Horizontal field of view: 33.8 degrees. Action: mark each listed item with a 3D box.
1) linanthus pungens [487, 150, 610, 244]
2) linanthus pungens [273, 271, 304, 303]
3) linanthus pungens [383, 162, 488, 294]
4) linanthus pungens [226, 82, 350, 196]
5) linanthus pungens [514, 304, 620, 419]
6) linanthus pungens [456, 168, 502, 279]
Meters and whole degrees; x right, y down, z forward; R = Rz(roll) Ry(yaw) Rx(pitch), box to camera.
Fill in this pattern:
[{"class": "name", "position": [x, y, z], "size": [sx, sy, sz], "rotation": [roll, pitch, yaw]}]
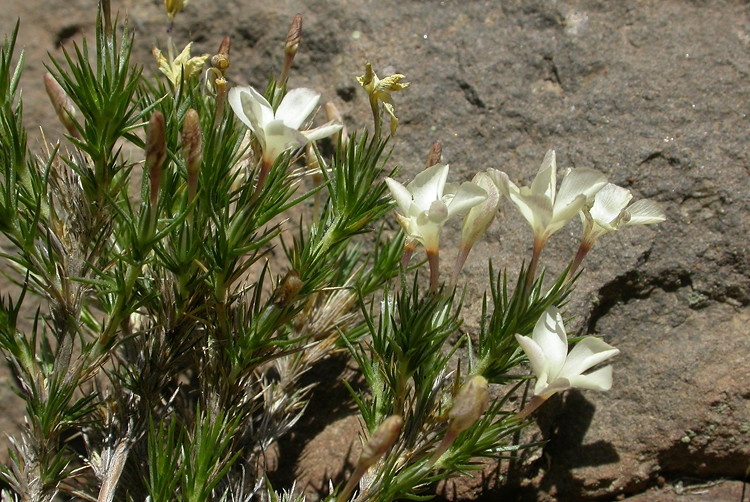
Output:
[{"class": "linanthus pungens", "position": [0.650, -0.145, 4.582], "size": [0.429, 0.313, 0.426], "rotation": [18, 16, 12]}, {"class": "linanthus pungens", "position": [-0.319, 0.138, 4.504], "size": [0.042, 0.119, 0.090], "rotation": [29, 38, -33]}, {"class": "linanthus pungens", "position": [0.253, -0.069, 4.581], "size": [0.348, 0.454, 0.453], "rotation": [13, -13, 25]}, {"class": "linanthus pungens", "position": [-0.389, -0.388, 4.452], "size": [0.329, 0.290, 0.278], "rotation": [6, -2, -35]}, {"class": "linanthus pungens", "position": [0.705, 0.419, 4.530], "size": [0.466, 0.152, 0.346], "rotation": [55, 1, -15]}, {"class": "linanthus pungens", "position": [0.383, -0.128, 4.594], "size": [0.122, 0.454, 0.131], "rotation": [15, 16, 1]}]
